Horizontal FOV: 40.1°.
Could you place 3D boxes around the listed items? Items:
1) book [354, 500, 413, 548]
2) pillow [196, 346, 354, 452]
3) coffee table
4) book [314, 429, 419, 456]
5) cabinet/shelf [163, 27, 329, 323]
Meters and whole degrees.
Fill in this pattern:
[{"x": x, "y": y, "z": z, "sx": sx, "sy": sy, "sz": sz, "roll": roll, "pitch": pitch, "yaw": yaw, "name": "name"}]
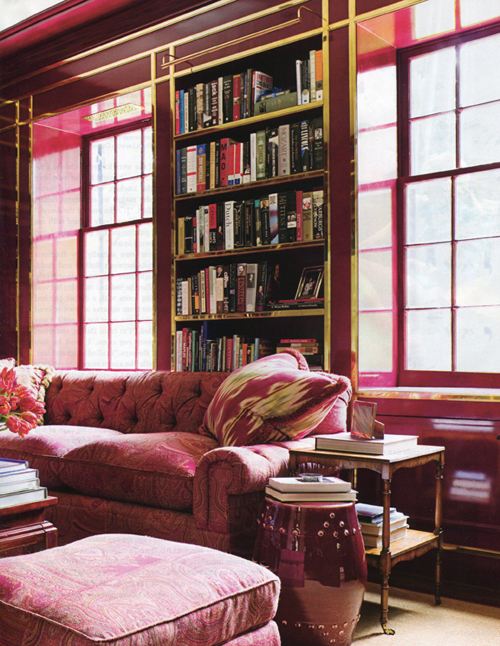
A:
[{"x": 0.435, "y": 0.692, "z": 2.373, "sx": 0.145, "sy": 0.054, "sz": 0.142, "roll": 1, "pitch": -2, "yaw": -36, "name": "book"}, {"x": 0.079, "y": 0.297, "z": 2.499, "sx": 0.567, "sy": 0.298, "sz": 0.282, "roll": 0, "pitch": -2, "yaw": 13, "name": "pillow"}, {"x": 0.429, "y": 0.695, "z": 2.585, "sx": 0.592, "sy": 0.758, "sz": 0.600, "roll": -4, "pitch": -5, "yaw": 40, "name": "coffee table"}, {"x": 0.377, "y": 0.408, "z": 2.364, "sx": 0.309, "sy": 0.050, "sz": 0.300, "roll": -1, "pitch": -3, "yaw": 32, "name": "book"}, {"x": 0.026, "y": -0.687, "z": 3.519, "sx": 1.036, "sy": 1.332, "sz": 0.326, "roll": -1, "pitch": -2, "yaw": 41, "name": "cabinet/shelf"}]
